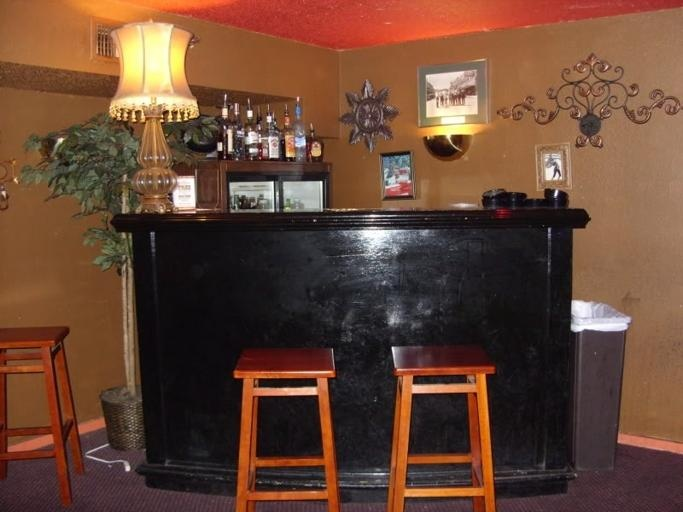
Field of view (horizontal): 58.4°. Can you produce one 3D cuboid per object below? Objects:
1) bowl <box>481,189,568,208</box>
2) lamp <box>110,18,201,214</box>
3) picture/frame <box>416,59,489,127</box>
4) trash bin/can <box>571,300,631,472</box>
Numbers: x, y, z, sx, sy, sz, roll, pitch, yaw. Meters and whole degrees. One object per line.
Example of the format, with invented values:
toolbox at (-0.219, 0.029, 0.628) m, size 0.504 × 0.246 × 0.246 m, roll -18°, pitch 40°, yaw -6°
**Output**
bowl at (1.015, -0.320, 3.395) m, size 0.442 × 0.089 × 0.152 m, roll 0°, pitch 8°, yaw 9°
lamp at (-1.023, -0.751, 3.341) m, size 0.469 × 1.008 × 0.400 m, roll -4°, pitch 8°, yaw -20°
picture/frame at (0.900, -1.301, 4.833) m, size 0.554 × 0.476 × 0.058 m, roll 3°, pitch 5°, yaw 30°
trash bin/can at (1.537, 0.826, 3.651) m, size 0.331 × 0.926 × 0.155 m, roll 1°, pitch 8°, yaw 15°
